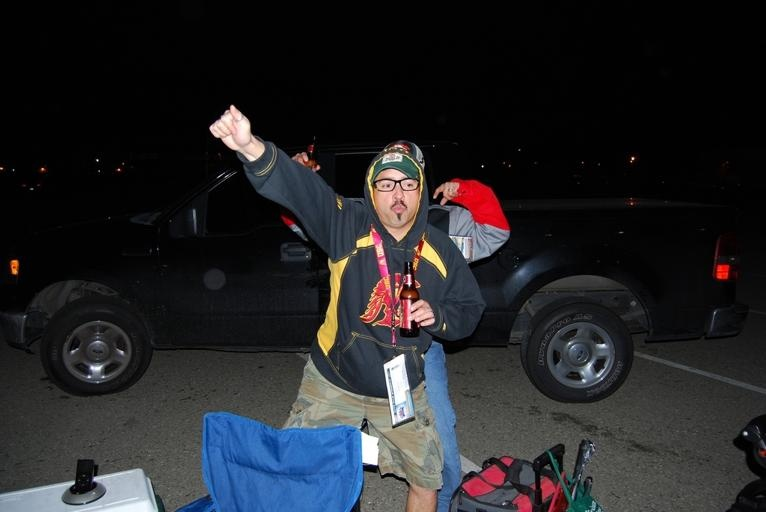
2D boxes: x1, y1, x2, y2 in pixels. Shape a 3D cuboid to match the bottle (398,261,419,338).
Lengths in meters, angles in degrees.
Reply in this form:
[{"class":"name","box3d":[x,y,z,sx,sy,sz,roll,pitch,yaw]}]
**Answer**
[{"class":"bottle","box3d":[0.156,0.267,2.909,0.112,0.451,0.226,1,13,5]}]
